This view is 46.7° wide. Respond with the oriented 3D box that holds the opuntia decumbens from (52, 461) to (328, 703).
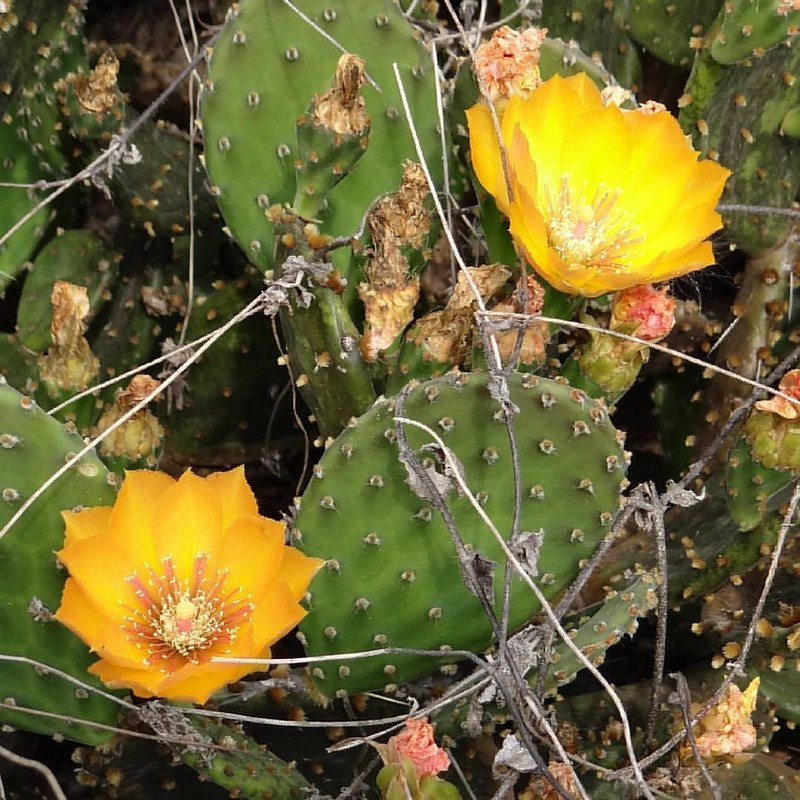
[{"bbox_3d":[-0.146,0.120,0.633,0.166,0.070,0.173,30,68,11],"label":"opuntia decumbens"}]
